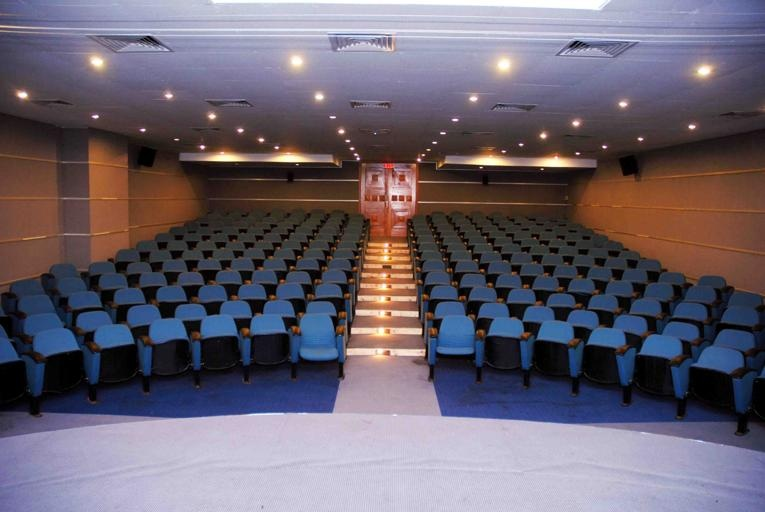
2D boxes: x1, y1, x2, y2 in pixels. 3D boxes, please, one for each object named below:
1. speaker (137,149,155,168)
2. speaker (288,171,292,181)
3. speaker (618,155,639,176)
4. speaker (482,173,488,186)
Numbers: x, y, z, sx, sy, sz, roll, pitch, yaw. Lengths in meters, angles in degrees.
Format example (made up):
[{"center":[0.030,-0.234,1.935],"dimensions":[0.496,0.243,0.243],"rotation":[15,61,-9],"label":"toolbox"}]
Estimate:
[{"center":[-7.629,-3.165,15.980],"dimensions":[0.145,0.513,0.612],"rotation":[26,12,39],"label":"speaker"},{"center":[-4.000,-3.438,21.509],"dimensions":[0.287,0.441,0.127],"rotation":[1,-9,-14],"label":"speaker"},{"center":[7.967,-2.902,15.967],"dimensions":[0.176,0.583,0.692],"rotation":[-18,6,-9],"label":"speaker"},{"center":[4.436,-3.310,21.471],"dimensions":[0.290,0.500,0.203],"rotation":[0,-9,-5],"label":"speaker"}]
